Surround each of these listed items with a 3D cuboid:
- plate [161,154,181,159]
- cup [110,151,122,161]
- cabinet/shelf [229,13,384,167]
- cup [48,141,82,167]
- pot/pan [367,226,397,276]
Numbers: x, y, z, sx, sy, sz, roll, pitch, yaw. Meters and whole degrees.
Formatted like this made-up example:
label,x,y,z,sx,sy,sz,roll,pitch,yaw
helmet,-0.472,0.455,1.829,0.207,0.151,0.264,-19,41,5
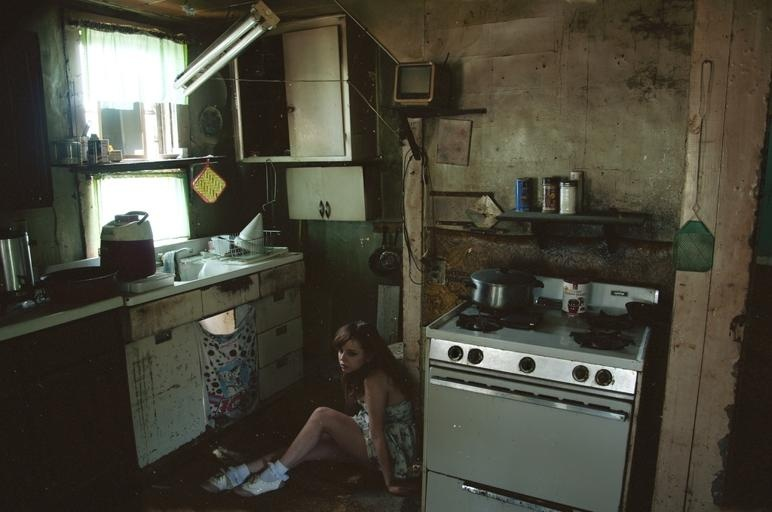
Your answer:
label,x,y,z,sx,sy,sz,roll,pitch,yaw
plate,-1.819,-0.840,5.363,0.051,0.034,0.149,9,15,43
cup,-2.054,-0.756,4.814,0.039,0.081,0.113,2,11,16
cabinet/shelf,-0.627,-1.425,5.305,1.140,1.066,0.410,3,15,18
cup,-2.346,-0.734,4.652,0.207,0.150,0.203,-1,6,0
pot/pan,-0.026,-0.034,5.517,0.285,0.404,0.148,-1,3,5
